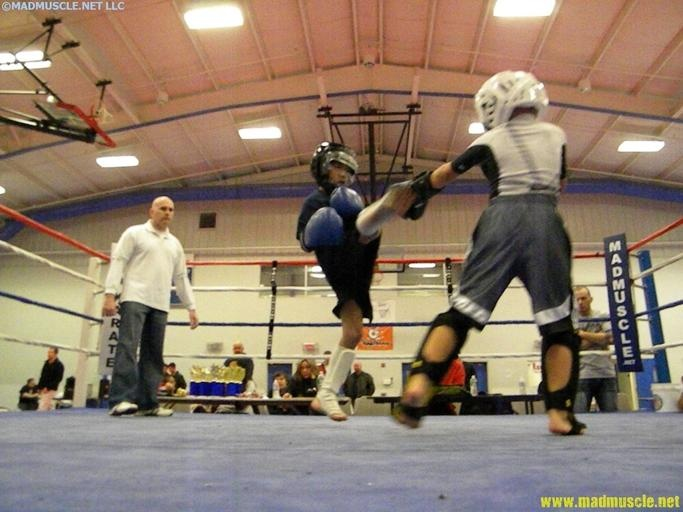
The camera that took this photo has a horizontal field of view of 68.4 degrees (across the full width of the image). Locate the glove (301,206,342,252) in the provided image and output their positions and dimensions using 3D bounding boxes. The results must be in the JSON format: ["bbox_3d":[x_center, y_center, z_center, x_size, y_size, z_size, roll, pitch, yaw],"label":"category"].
[{"bbox_3d":[-0.112,-0.130,2.401,0.116,0.172,0.241,14,-20,-35],"label":"glove"}]

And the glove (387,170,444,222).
[{"bbox_3d":[0.256,-0.201,1.624,0.073,0.190,0.121,10,-32,49],"label":"glove"}]

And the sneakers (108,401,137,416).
[{"bbox_3d":[-1.234,0.864,2.839,0.136,0.080,0.124,8,-17,-23],"label":"sneakers"}]

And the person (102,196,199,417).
[{"bbox_3d":[-1.204,0.307,3.216,0.345,1.368,0.606,-4,-18,20],"label":"person"}]

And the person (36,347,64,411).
[{"bbox_3d":[-5.061,2.115,8.748,0.348,1.035,1.743,12,-18,-27],"label":"person"}]

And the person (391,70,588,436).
[{"bbox_3d":[0.533,0.032,1.662,0.693,1.072,0.304,14,-21,-35],"label":"person"}]

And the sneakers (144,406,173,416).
[{"bbox_3d":[-1.128,0.963,3.085,0.192,0.065,0.064,-3,-26,5],"label":"sneakers"}]
